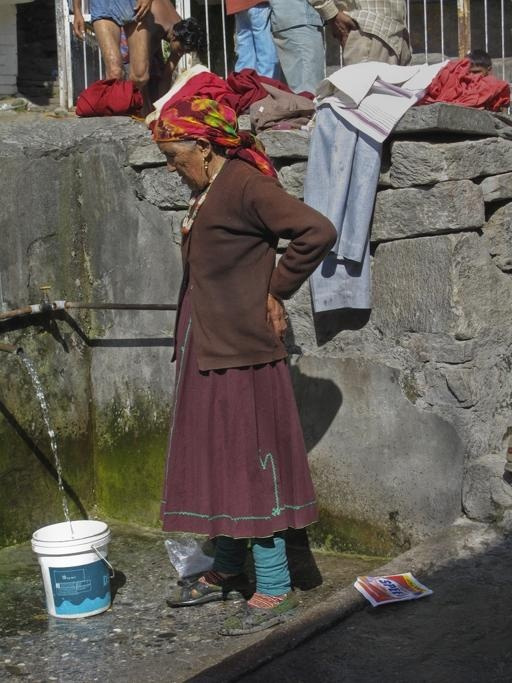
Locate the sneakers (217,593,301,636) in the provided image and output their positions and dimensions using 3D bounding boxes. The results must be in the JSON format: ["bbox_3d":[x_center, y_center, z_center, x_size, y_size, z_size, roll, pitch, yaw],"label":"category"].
[{"bbox_3d":[0.013,1.026,3.619,0.261,0.084,0.143,-18,11,-18],"label":"sneakers"}]

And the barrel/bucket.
[{"bbox_3d":[-0.687,0.915,3.970,0.426,0.321,0.362,-3,5,5],"label":"barrel/bucket"}]

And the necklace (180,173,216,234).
[{"bbox_3d":[-0.217,-0.517,3.526,0.047,0.213,0.132,36,-19,-16],"label":"necklace"}]

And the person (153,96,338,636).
[{"bbox_3d":[-0.037,-0.071,3.499,0.679,1.610,0.346,1,10,10],"label":"person"}]
